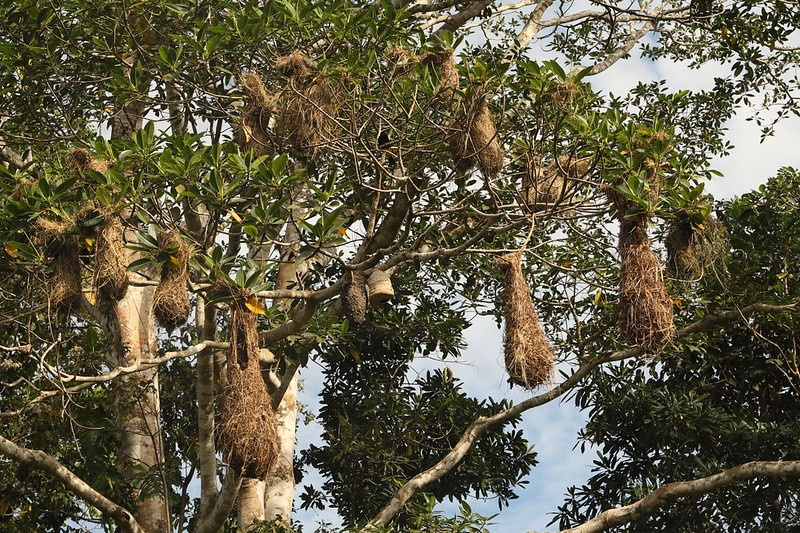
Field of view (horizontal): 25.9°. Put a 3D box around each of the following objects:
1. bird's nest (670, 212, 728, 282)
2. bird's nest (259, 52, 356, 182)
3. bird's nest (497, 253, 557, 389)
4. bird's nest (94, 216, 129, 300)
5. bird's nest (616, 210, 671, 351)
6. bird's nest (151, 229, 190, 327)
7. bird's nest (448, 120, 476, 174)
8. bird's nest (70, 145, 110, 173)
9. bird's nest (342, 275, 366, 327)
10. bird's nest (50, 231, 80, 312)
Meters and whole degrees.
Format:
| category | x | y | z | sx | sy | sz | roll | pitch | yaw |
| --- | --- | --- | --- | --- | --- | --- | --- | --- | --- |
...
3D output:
| category | x | y | z | sx | sy | sz | roll | pitch | yaw |
| --- | --- | --- | --- | --- | --- | --- | --- | --- | --- |
| bird's nest | 3.702 | -0.242 | 21.832 | 0.894 | 0.777 | 1.107 | -1 | -84 | 3 |
| bird's nest | -1.188 | -1.873 | 22.373 | 0.957 | 1.332 | 1.469 | 6 | -40 | -3 |
| bird's nest | 1.539 | 0.777 | 21.705 | 0.695 | 2.384 | 0.932 | -2 | -39 | 7 |
| bird's nest | -3.558 | -0.090 | 21.439 | 0.429 | 0.788 | 0.709 | 6 | -39 | -2 |
| bird's nest | 2.969 | 0.245 | 21.538 | 0.621 | 1.430 | 0.865 | -12 | -42 | 19 |
| bird's nest | -2.801 | 0.080 | 21.562 | 0.470 | 1.287 | 0.810 | 7 | -39 | -4 |
| bird's nest | 0.772 | -1.515 | 21.970 | 0.362 | 0.519 | 0.674 | 3 | -40 | 2 |
| bird's nest | -3.964 | -1.306 | 21.949 | 0.402 | 0.363 | 0.180 | 43 | -30 | 21 |
| bird's nest | -0.622 | 0.446 | 22.169 | 0.227 | 0.605 | 0.326 | -13 | -10 | 35 |
| bird's nest | -4.132 | 0.107 | 21.542 | 0.420 | 0.843 | 0.649 | 4 | -39 | 0 |
